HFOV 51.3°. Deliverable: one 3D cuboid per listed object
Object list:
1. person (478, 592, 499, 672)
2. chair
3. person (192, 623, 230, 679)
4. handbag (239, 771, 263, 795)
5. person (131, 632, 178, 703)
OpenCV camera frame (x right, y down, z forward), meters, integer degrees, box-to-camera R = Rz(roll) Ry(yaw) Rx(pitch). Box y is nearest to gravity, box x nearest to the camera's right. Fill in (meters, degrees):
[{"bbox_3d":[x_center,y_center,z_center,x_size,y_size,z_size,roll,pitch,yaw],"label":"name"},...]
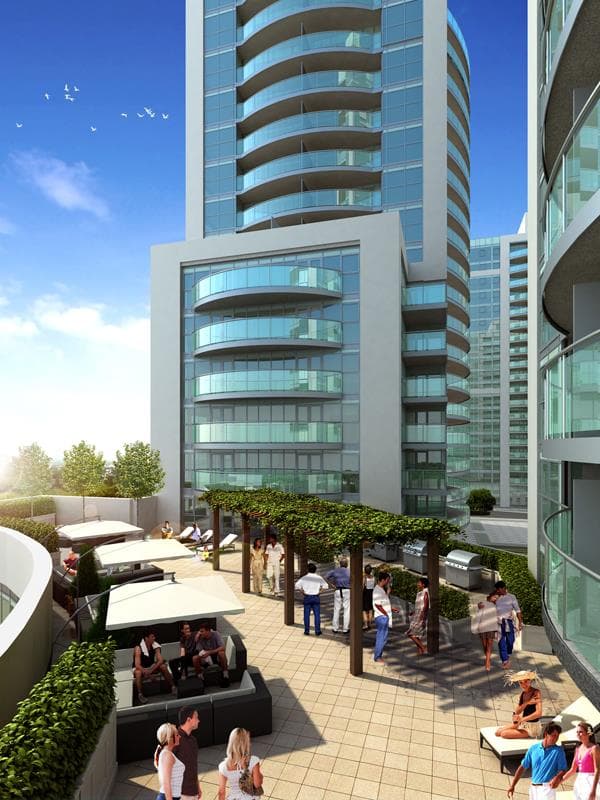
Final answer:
[{"bbox_3d":[3.689,4.494,12.304,0.346,1.506,1.224,-3,-4,15],"label":"person"},{"bbox_3d":[3.548,4.750,8.943,1.866,1.005,0.991,3,-8,-17],"label":"chair"},{"bbox_3d":[-1.620,4.434,10.907,0.604,1.043,0.646,-1,-19,-29],"label":"person"},{"bbox_3d":[-0.499,3.833,6.187,0.222,0.271,0.055,-1,-4,-17],"label":"handbag"},{"bbox_3d":[-2.531,4.431,10.402,0.835,1.051,0.792,-8,-8,24],"label":"person"}]
